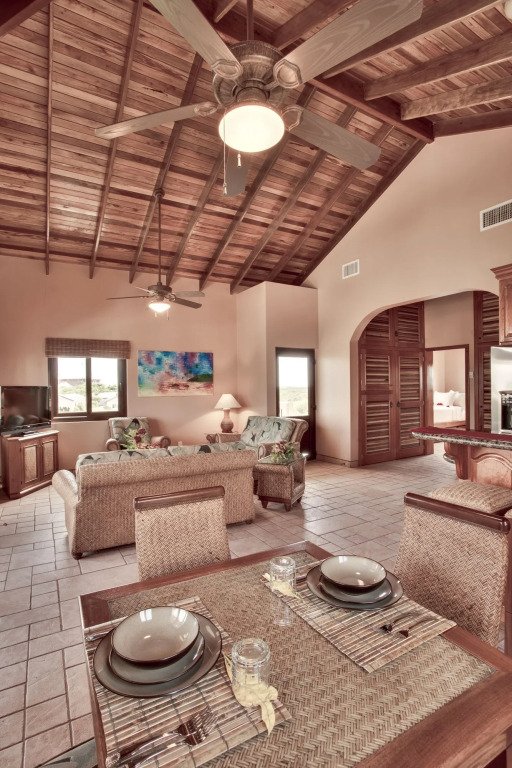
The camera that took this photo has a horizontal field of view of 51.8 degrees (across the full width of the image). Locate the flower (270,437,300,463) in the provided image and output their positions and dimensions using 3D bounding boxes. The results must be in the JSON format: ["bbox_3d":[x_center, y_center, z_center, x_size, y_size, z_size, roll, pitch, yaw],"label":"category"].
[{"bbox_3d":[0.247,0.609,4.778,0.202,0.141,0.204,3,-3,-5],"label":"flower"}]

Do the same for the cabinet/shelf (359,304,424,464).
[{"bbox_3d":[1.869,-0.044,7.329,0.499,2.174,1.537,11,12,38],"label":"cabinet/shelf"}]

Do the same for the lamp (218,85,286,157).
[{"bbox_3d":[-0.024,-1.026,2.079,0.256,0.139,0.237,2,10,-5],"label":"lamp"}]

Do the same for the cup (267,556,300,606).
[{"bbox_3d":[0.064,0.542,1.463,0.057,0.090,0.095,0,0,-5],"label":"cup"}]

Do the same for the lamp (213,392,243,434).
[{"bbox_3d":[-0.419,0.405,7.453,0.566,0.696,0.504,0,-4,-2],"label":"lamp"}]

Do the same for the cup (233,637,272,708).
[{"bbox_3d":[-0.014,0.573,1.048,0.102,0.144,0.094,-1,-8,0],"label":"cup"}]

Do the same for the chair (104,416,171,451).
[{"bbox_3d":[-1.456,0.601,6.413,0.626,0.653,0.510,3,-15,-27],"label":"chair"}]

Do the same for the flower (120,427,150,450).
[{"bbox_3d":[-1.436,0.640,6.147,0.229,0.151,0.233,25,8,5],"label":"flower"}]

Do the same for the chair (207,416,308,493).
[{"bbox_3d":[0.036,0.889,5.692,0.724,0.768,1.213,1,0,-23],"label":"chair"}]

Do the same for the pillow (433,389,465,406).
[{"bbox_3d":[4.013,0.292,11.199,0.600,0.515,0.215,4,-11,45],"label":"pillow"}]
